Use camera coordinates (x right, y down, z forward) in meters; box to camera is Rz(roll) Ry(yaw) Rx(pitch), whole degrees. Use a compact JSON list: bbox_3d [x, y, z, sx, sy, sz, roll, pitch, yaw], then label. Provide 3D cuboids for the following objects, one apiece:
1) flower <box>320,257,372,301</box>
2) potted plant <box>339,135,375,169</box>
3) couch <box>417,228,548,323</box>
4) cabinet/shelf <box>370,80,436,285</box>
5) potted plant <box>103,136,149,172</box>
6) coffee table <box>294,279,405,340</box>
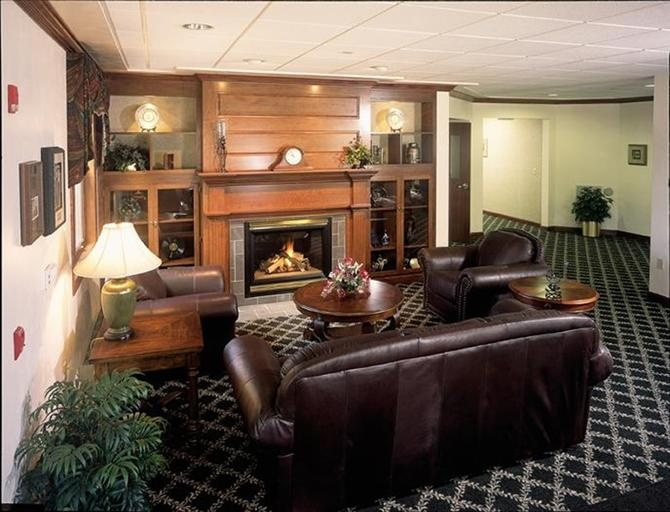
[{"bbox_3d":[0.135,0.232,5.169,0.462,0.354,0.489,-1,5,-18],"label":"flower"},{"bbox_3d":[0.297,-1.523,6.997,0.566,0.632,0.484,-1,5,-15],"label":"potted plant"},{"bbox_3d":[1.912,0.205,5.860,1.226,1.302,1.670,-4,10,-16],"label":"couch"},{"bbox_3d":[1.089,-1.195,7.619,1.217,3.044,0.484,-5,10,-23],"label":"cabinet/shelf"},{"bbox_3d":[-2.806,-1.343,6.090,0.505,0.359,0.442,-3,16,-22],"label":"potted plant"},{"bbox_3d":[0.111,0.513,4.932,0.834,0.380,0.803,-2,14,-11],"label":"coffee table"}]
